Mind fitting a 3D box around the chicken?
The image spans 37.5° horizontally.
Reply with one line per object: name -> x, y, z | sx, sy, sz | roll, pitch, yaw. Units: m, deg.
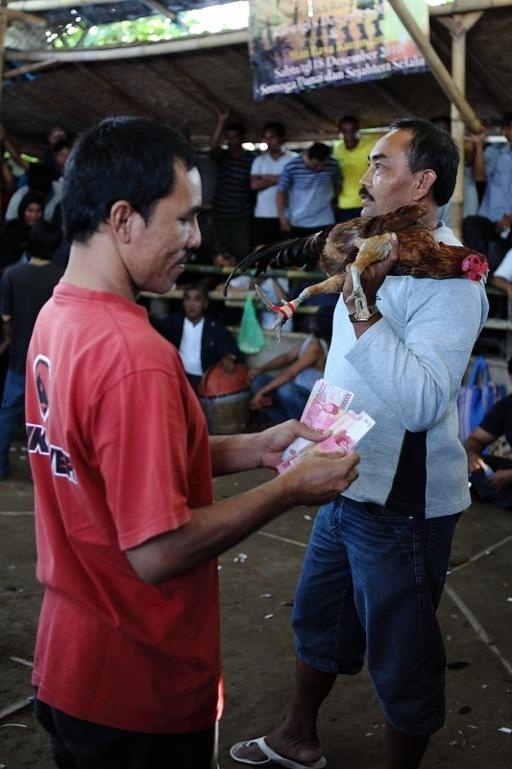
chicken -> 0.290, -0.349, 2.093 | 0.769, 0.242, 0.445 | 3, 33, -11
